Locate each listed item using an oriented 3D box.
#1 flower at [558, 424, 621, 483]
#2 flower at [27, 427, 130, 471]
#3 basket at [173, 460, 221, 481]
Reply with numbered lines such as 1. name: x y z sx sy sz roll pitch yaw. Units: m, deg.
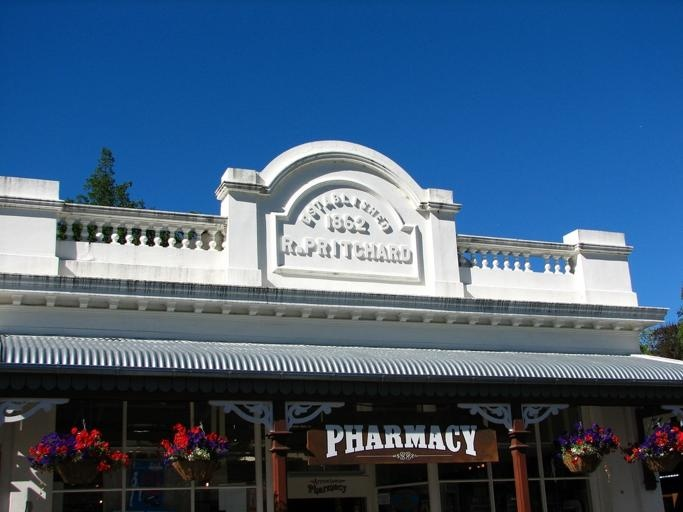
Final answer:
1. flower: 5.338 4.097 22.004 1.368 1.176 1.295 -3 8 -27
2. flower: -5.064 3.609 18.976 1.203 0.599 1.263 1 -21 -3
3. basket: -2.819 4.099 19.542 0.858 0.345 0.440 0 -18 -10
